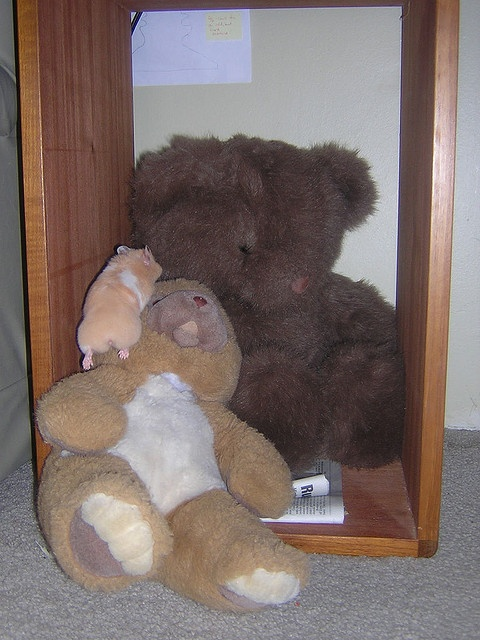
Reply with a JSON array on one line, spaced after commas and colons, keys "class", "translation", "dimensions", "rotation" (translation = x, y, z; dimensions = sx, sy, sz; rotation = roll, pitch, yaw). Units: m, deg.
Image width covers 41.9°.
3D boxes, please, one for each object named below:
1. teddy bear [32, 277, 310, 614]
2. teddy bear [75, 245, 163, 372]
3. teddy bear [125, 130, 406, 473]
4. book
[{"class": "teddy bear", "translation": [-0.064, 0.134, 0.676], "dimensions": [0.280, 0.275, 0.243], "rotation": [2, 24, 6]}, {"class": "teddy bear", "translation": [-0.127, -0.012, 0.732], "dimensions": [0.074, 0.070, 0.143], "rotation": [14, 49, 1]}, {"class": "teddy bear", "translation": [0.030, -0.012, 0.798], "dimensions": [0.365, 0.396, 0.296], "rotation": [-21, 38, -28]}, {"class": "book", "translation": [0.089, 0.229, 0.795], "dimensions": [0.070, 0.013, 0.069], "rotation": [-8, 26, 19]}]
